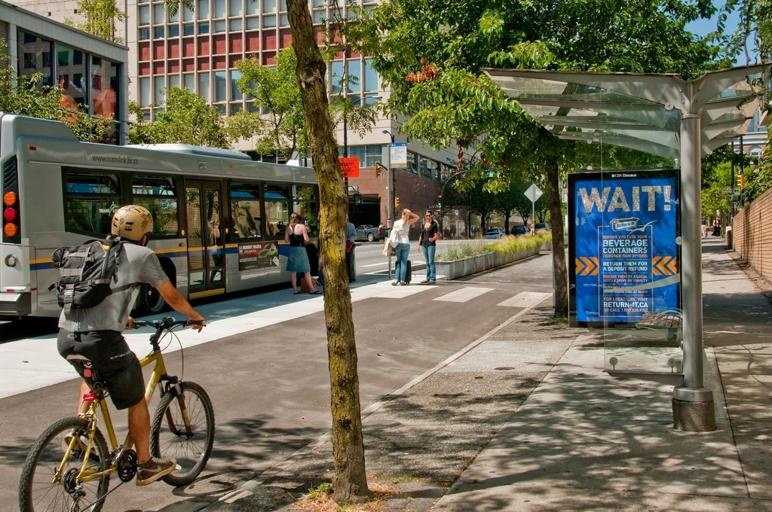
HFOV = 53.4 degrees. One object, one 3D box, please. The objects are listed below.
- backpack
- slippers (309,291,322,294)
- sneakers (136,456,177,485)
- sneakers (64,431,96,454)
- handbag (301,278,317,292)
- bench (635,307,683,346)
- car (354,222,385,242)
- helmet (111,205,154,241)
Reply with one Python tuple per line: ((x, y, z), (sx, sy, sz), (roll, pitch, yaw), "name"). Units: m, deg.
((-2.725, 0.169, 7.069), (0.695, 0.725, 0.479), (-3, -17, 1), "backpack")
((-1.831, 0.934, 19.804), (0.217, 0.066, 0.115), (-1, 4, -5), "slippers")
((-2.205, 2.025, 7.284), (0.165, 0.218, 0.507), (2, 5, 29), "sneakers")
((-2.716, 1.664, 6.813), (0.095, 0.286, 0.116), (-39, 34, -16), "sneakers")
((-2.041, 0.747, 19.869), (0.325, 0.315, 0.187), (1, 8, 17), "handbag")
((3.487, 0.888, 9.791), (0.492, 0.170, 0.392), (3, 12, 26), "bench")
((-1.056, -1.833, 59.950), (2.341, 0.789, 1.338), (4, 5, 36), "car")
((-2.338, -0.352, 7.265), (0.296, 0.373, 0.388), (8, 13, 6), "helmet")
